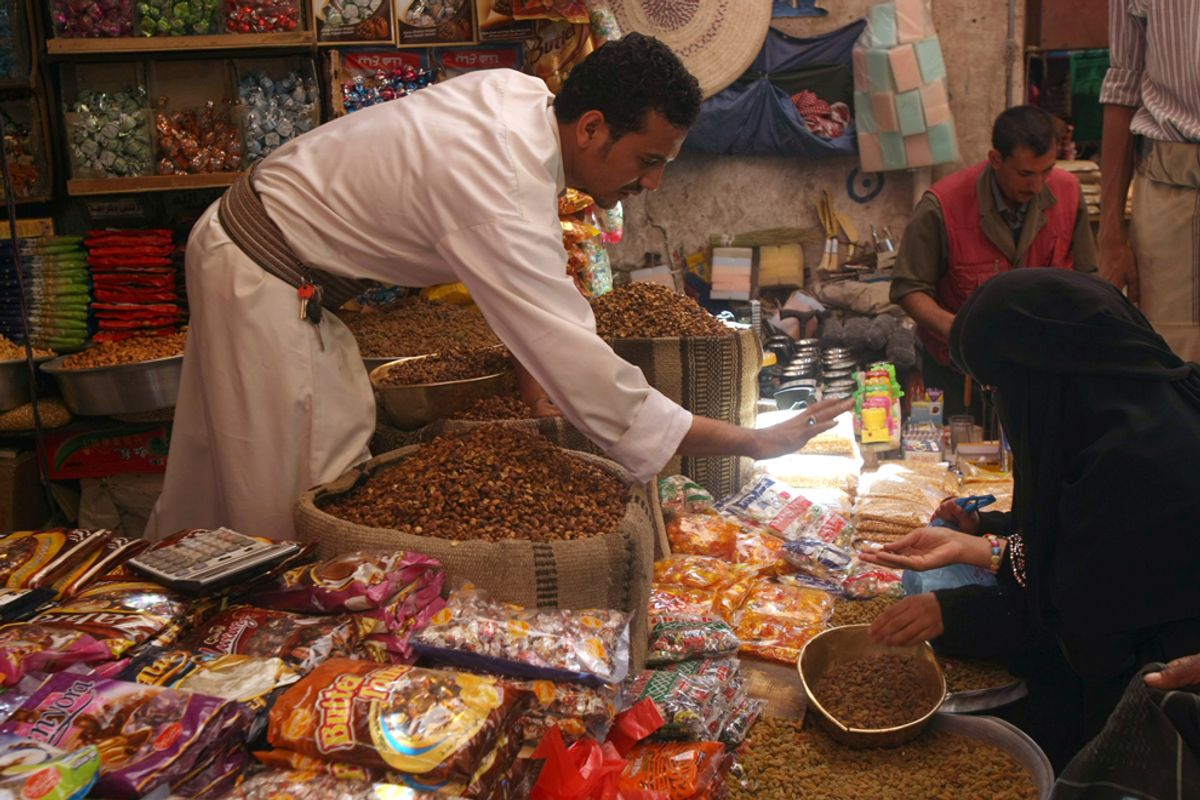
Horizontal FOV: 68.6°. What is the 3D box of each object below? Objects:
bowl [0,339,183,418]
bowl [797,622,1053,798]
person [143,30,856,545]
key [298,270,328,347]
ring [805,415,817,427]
[{"bbox_3d":[-2.371,-0.098,4.328,0.659,0.203,0.614,-4,-2,0],"label":"bowl"},{"bbox_3d":[0.886,0.865,2.477,0.595,0.179,0.376,27,39,24],"label":"bowl"},{"bbox_3d":[-0.448,-0.312,2.616,1.648,1.393,0.497,-1,17,9],"label":"person"},{"bbox_3d":[-0.861,-0.288,2.618,0.059,0.182,0.058,1,17,17],"label":"key"},{"bbox_3d":[0.618,0.057,2.560,0.021,0.043,0.028,-4,15,-33],"label":"ring"}]
